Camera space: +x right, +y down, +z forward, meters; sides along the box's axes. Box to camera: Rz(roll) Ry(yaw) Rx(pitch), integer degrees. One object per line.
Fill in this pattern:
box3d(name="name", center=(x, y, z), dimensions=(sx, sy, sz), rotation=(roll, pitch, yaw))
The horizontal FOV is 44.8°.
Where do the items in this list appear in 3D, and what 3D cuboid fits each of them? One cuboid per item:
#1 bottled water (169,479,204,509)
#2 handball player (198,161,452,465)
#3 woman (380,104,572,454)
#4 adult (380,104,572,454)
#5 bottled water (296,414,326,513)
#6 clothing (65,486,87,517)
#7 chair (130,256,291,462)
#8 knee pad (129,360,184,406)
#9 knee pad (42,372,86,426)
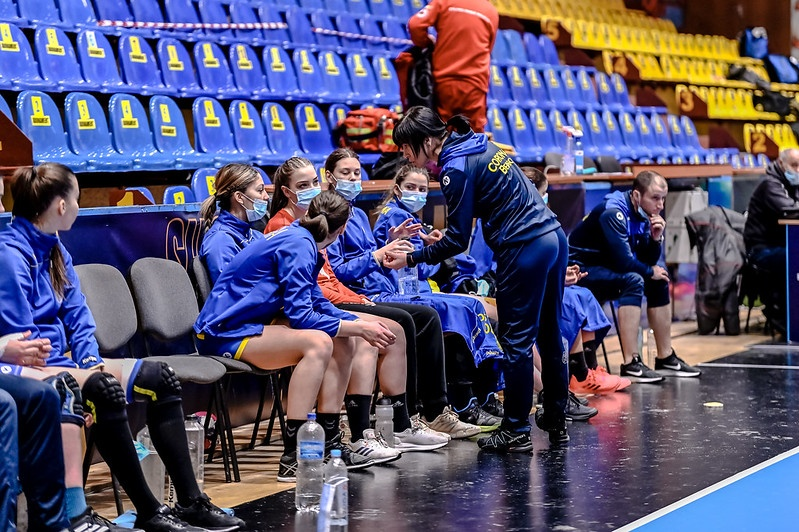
box3d(name="bottled water", center=(-1.189, 1.222, 5.235), dimensions=(0.109, 0.134, 0.317), rotation=(-3, -3, -36))
box3d(name="handball player", center=(-0.908, 0.337, 6.291), dimensions=(1.370, 1.851, 0.761), rotation=(7, 2, -37))
box3d(name="woman", center=(0.521, 0.045, 6.267), dimensions=(1.170, 2.068, 0.886), rotation=(0, 6, 21))
box3d(name="adult", center=(0.589, 0.052, 6.302), dimensions=(1.127, 2.117, 0.958), rotation=(-1, 4, 22))
box3d(name="bottled water", center=(-0.495, 1.061, 5.349), dimensions=(0.190, 0.399, 0.390), rotation=(-6, -3, -6))
box3d(name="clothing", center=(-1.550, 1.126, 4.667), dimensions=(0.028, 0.096, 0.114), rotation=(-8, -3, 35))
box3d(name="chair", center=(-1.107, 0.577, 5.787), dimensions=(0.901, 1.225, 0.771), rotation=(-1, 2, 16))
box3d(name="knee pad", center=(-1.231, 0.576, 4.956), dimensions=(0.236, 0.234, 0.177), rotation=(-9, 24, -25))
box3d(name="knee pad", center=(-1.617, 0.639, 4.697), dimensions=(0.118, 0.320, 0.146), rotation=(-1, -15, -41))
